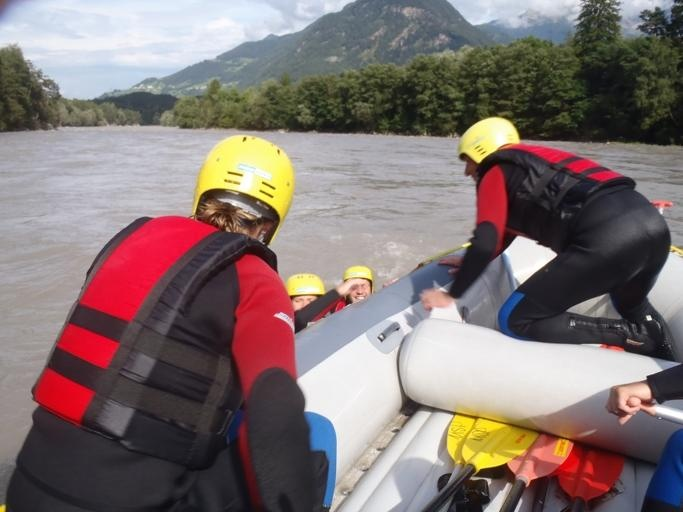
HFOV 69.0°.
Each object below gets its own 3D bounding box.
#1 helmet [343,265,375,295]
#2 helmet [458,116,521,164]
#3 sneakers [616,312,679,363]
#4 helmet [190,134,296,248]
[{"bbox_3d":[0.150,0.194,4.675,0.211,0.185,0.334,-1,-25,2],"label":"helmet"},{"bbox_3d":[0.944,-0.766,3.242,0.370,0.302,0.298,20,21,31],"label":"helmet"},{"bbox_3d":[1.867,0.497,3.038,0.345,0.229,0.135,10,8,8],"label":"sneakers"},{"bbox_3d":[-0.312,-0.259,1.869,0.315,0.397,0.408,30,-1,-13],"label":"helmet"}]
